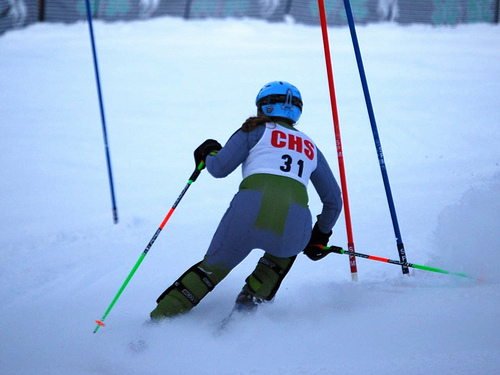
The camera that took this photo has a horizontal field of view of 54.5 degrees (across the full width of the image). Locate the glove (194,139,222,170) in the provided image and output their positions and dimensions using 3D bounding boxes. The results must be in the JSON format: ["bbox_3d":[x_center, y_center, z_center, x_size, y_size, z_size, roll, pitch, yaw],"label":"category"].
[{"bbox_3d":[-0.437,-0.318,5.028,0.248,0.332,0.330,-7,19,-27],"label":"glove"}]

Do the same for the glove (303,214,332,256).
[{"bbox_3d":[0.723,0.509,5.211,0.283,0.452,0.192,4,17,6],"label":"glove"}]

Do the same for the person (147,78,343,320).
[{"bbox_3d":[-0.002,0.293,5.204,1.555,2.924,1.121,20,12,17],"label":"person"}]

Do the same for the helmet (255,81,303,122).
[{"bbox_3d":[0.315,-0.908,5.194,0.535,0.454,0.460,10,-3,-4],"label":"helmet"}]
